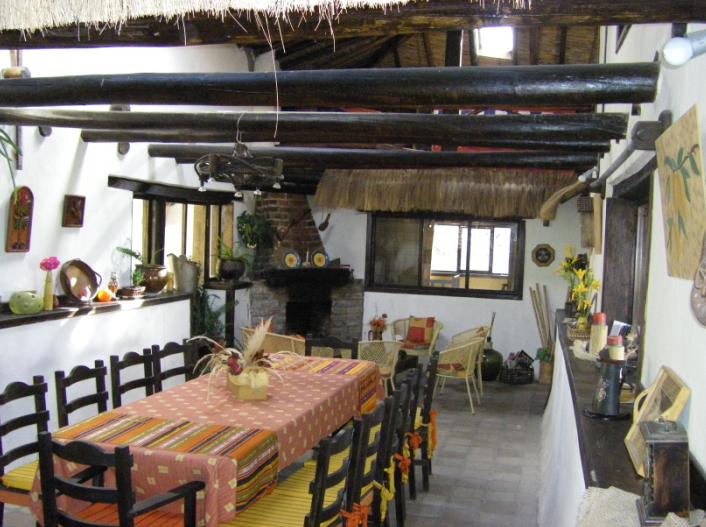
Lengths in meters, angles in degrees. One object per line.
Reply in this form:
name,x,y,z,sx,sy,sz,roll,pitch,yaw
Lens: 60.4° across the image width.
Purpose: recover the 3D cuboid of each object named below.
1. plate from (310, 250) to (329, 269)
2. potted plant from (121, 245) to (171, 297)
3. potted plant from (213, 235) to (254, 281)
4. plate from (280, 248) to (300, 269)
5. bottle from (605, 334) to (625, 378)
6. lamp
plate,-0.505,-0.071,9.224,0.285,0.267,0.182,5,-3,-17
potted plant,-2.304,0.086,6.825,0.486,0.442,0.345,2,2,-2
potted plant,-1.702,-0.048,8.621,0.494,0.593,0.707,4,-4,-3
plate,-0.920,-0.068,9.034,0.248,0.294,0.248,4,-3,-1
bottle,1.427,0.475,3.259,0.112,0.207,0.121,1,-4,0
lamp,-0.885,-0.851,4.703,0.711,0.543,0.550,0,6,-11
